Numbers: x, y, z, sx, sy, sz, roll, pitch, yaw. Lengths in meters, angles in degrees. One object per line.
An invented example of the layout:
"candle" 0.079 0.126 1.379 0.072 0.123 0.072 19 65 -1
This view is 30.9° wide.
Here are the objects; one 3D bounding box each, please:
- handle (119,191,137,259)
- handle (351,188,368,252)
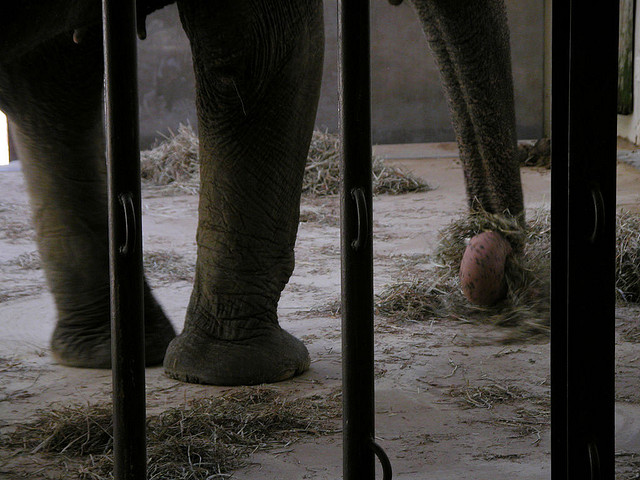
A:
"handle" -0.403 -0.028 2.430 0.038 0.141 0.018 -2 1 -5
"handle" 0.083 -0.040 2.442 0.033 0.135 0.013 -2 1 -7
